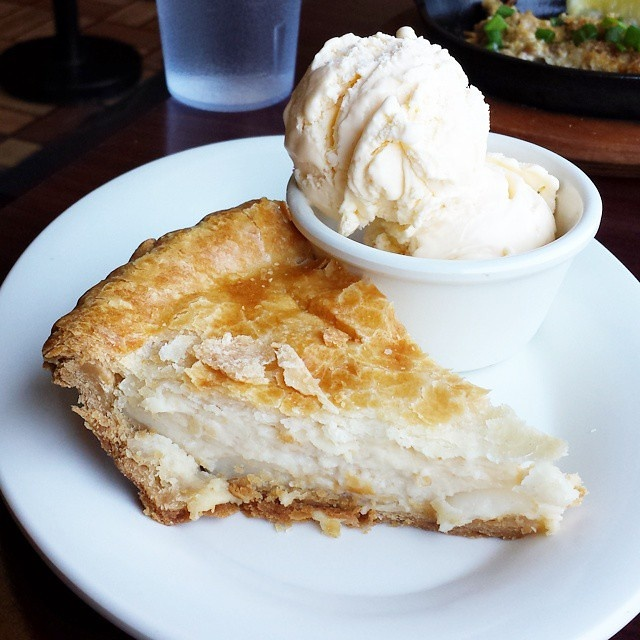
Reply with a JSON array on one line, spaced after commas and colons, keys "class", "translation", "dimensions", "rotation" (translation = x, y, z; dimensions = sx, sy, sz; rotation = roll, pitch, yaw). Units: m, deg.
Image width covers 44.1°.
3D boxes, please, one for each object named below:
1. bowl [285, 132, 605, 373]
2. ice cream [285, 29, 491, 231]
[{"class": "bowl", "translation": [0.250, -0.109, 1.516], "dimensions": [0.565, 0.218, 0.451], "rotation": [-6, 36, -4]}, {"class": "ice cream", "translation": [0.118, -0.325, 1.500], "dimensions": [0.440, 0.238, 0.332], "rotation": [-3, 85, 0]}]
